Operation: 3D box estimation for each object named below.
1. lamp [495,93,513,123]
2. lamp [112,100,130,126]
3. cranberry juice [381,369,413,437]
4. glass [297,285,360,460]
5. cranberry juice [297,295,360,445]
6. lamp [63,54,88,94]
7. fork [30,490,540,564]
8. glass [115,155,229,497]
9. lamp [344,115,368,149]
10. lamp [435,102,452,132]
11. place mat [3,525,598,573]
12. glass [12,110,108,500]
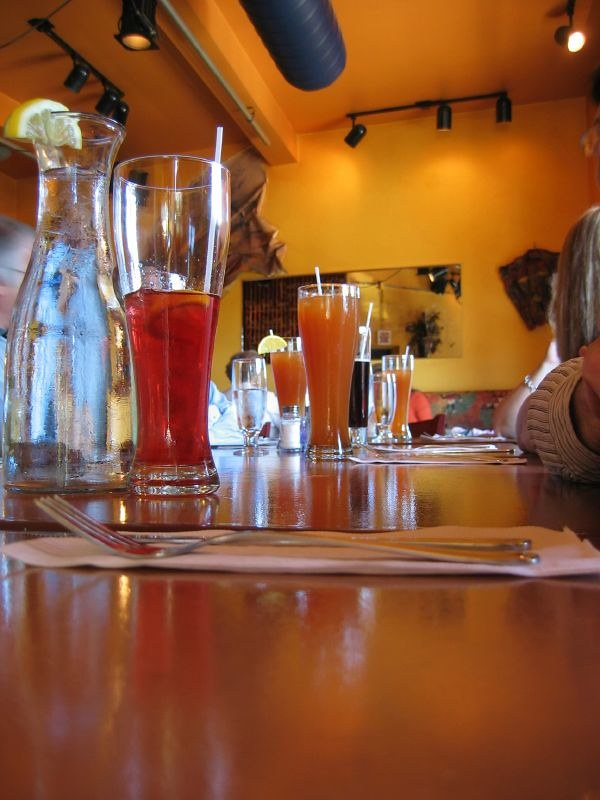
[{"bbox_3d":[1.574,-2.269,5.361,0.108,0.242,0.177,-1,-2,15],"label":"lamp"},{"bbox_3d":[-1.276,-2.055,4.867,0.106,0.227,0.272,0,-1,-18],"label":"lamp"},{"bbox_3d":[0.272,0.012,1.844,0.072,0.194,0.078,-10,-7,-5],"label":"cranberry juice"},{"bbox_3d":[0.038,-0.033,0.896,0.079,0.217,0.083,0,-1,7],"label":"glass"},{"bbox_3d":[0.036,-0.035,0.871,0.068,0.217,0.039,0,-2,-2],"label":"cranberry juice"},{"bbox_3d":[-1.419,-2.064,4.375,0.114,0.232,0.143,0,-2,2],"label":"lamp"},{"bbox_3d":[-0.006,0.046,0.243,0.173,0.023,0.020,2,-5,4],"label":"fork"},{"bbox_3d":[-0.085,-0.055,0.462,0.079,0.232,0.095,0,-2,-15],"label":"glass"},{"bbox_3d":[0.458,-2.248,5.745,0.182,0.303,0.164,12,-38,26],"label":"lamp"},{"bbox_3d":[1.153,-2.262,5.548,0.113,0.239,0.267,-1,-1,14],"label":"lamp"},{"bbox_3d":[-0.003,0.052,0.256,0.208,0.009,0.082,0,-1,9],"label":"place mat"},{"bbox_3d":[-0.163,-0.065,0.478,0.061,0.253,0.065,1,-2,-35],"label":"glass"}]
